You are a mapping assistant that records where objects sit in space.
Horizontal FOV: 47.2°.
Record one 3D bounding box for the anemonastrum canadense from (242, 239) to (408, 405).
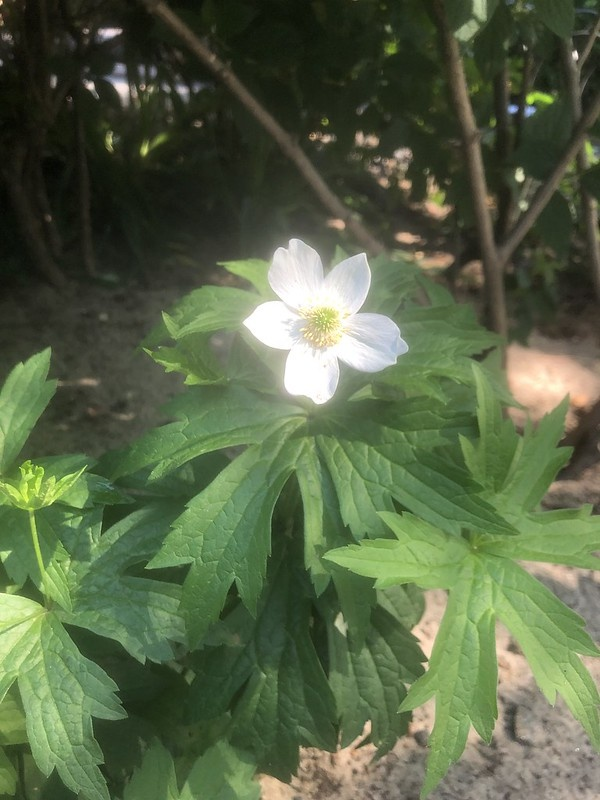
[{"bbox_3d":[0.062,-0.185,1.583,0.359,0.353,0.189,5,14,3],"label":"anemonastrum canadense"}]
